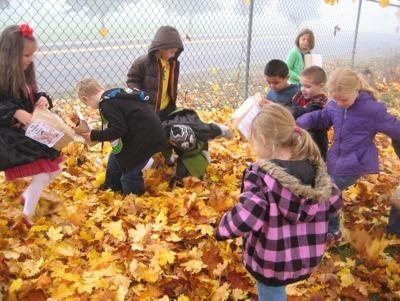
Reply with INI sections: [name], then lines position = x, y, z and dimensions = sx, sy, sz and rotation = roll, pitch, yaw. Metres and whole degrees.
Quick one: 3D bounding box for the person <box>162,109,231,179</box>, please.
[person]
position = -0.207, -0.112, 4.023
dimensions = 0.913, 0.592, 0.641
rotation = -31, 12, -32
